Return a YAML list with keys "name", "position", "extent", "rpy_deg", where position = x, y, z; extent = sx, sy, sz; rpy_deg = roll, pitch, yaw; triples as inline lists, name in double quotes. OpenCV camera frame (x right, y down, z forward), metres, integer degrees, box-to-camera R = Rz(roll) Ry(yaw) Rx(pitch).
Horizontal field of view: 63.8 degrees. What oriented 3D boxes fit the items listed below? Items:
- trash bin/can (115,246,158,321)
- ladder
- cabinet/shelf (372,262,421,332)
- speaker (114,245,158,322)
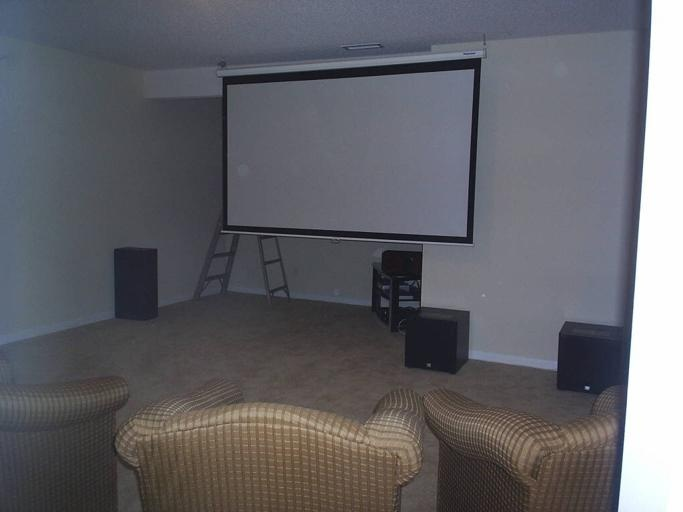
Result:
- name: "trash bin/can"
  position: [-2.115, 0.292, 5.631]
  extent: [0.428, 0.732, 0.202]
  rpy_deg: [-1, 7, -15]
- name: "ladder"
  position: [-1.218, 0.034, 6.721]
  extent: [1.078, 1.464, 0.491]
  rpy_deg: [3, 2, 3]
- name: "cabinet/shelf"
  position: [0.540, 0.328, 5.674]
  extent: [0.506, 0.624, 0.802]
  rpy_deg: [-1, 8, -9]
- name: "speaker"
  position: [-2.163, 0.245, 5.757]
  extent: [0.463, 0.769, 0.442]
  rpy_deg: [-3, 14, -32]
